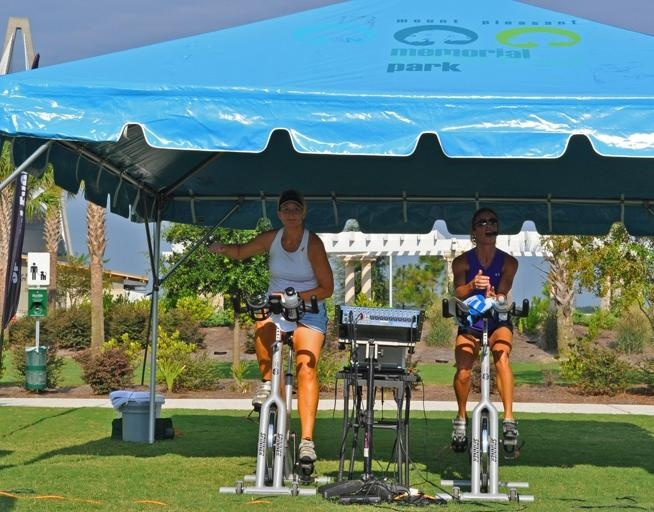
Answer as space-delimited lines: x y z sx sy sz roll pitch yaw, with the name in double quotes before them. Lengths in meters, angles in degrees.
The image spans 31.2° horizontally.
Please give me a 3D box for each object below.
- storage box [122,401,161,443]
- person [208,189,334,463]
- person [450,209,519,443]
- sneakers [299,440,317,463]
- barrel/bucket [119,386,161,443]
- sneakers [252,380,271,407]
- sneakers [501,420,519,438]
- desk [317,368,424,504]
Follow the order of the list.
"storage box" -2.499 2.246 15.768 0.502 0.469 0.473 9 -12 -40
"person" -0.474 0.838 13.984 0.903 3.218 1.322 6 -9 -36
"person" 1.926 0.832 14.050 0.915 2.915 1.531 -2 -1 1
"sneakers" -0.222 2.240 13.436 0.176 0.272 0.222 1 -8 -3
"barrel/bucket" -2.522 2.176 15.772 0.522 0.645 0.564 0 -3 0
"sneakers" -0.751 1.607 13.573 0.206 0.315 0.518 1 -8 -5
"sneakers" 2.118 1.995 13.508 0.163 0.210 0.204 -1 -11 5
"desk" 0.557 2.080 13.646 0.943 1.635 1.068 5 2 6
